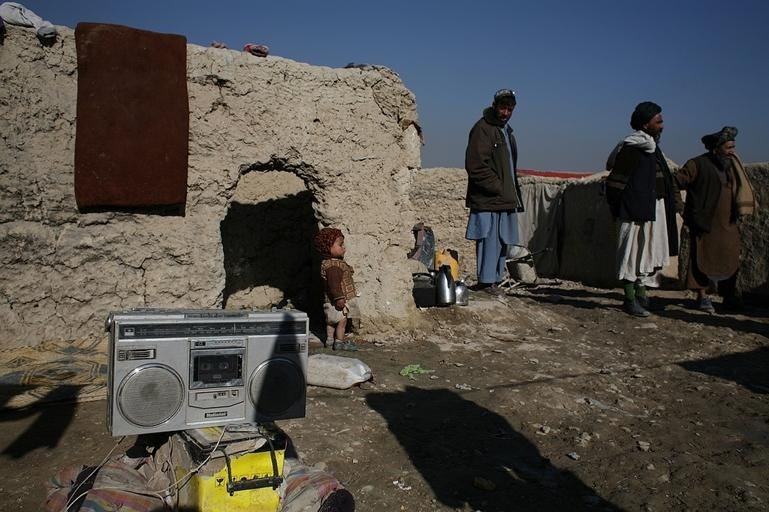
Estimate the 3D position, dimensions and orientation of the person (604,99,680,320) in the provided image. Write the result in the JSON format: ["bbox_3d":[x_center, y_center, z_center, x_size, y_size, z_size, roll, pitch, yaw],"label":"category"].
[{"bbox_3d":[3.480,-0.608,7.646,1.008,2.888,0.613,2,13,8],"label":"person"}]

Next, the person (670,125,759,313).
[{"bbox_3d":[4.792,-0.400,8.073,0.907,2.592,1.142,0,1,-20],"label":"person"}]

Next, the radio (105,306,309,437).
[{"bbox_3d":[-1.107,0.713,3.472,1.223,0.757,0.343,0,3,-20],"label":"radio"}]

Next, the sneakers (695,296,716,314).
[{"bbox_3d":[4.679,0.689,8.294,0.154,0.181,0.444,-1,1,6],"label":"sneakers"}]

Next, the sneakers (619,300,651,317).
[{"bbox_3d":[3.483,0.726,7.821,0.148,0.168,0.411,-7,7,-26],"label":"sneakers"}]

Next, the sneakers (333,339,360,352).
[{"bbox_3d":[-0.433,1.030,6.503,0.348,0.138,0.121,1,4,-9],"label":"sneakers"}]

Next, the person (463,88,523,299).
[{"bbox_3d":[1.535,-0.868,7.885,0.842,2.709,1.103,2,7,26],"label":"person"}]

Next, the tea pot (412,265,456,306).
[{"bbox_3d":[0.770,0.420,7.667,0.642,0.499,0.444,2,2,23],"label":"tea pot"}]
